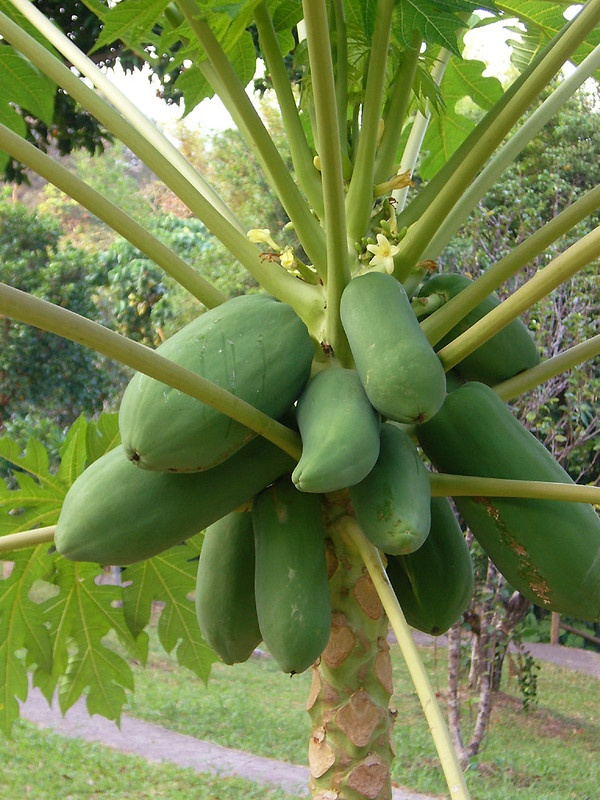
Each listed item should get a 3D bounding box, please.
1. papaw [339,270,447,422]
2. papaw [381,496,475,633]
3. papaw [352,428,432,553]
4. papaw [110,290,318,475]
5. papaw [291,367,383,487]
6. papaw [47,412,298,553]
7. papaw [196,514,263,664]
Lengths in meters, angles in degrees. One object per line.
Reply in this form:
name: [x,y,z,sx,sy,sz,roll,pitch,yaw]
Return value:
papaw: [0.101,-0.065,0.807,0.098,0.206,0.088,-13,-50,4]
papaw: [0.226,0.273,1.100,0.148,0.212,0.079,-8,3,34]
papaw: [0.106,0.119,0.822,0.090,0.155,0.069,11,-52,-12]
papaw: [-0.109,-0.007,0.871,0.279,0.159,0.146,-48,5,-37]
papaw: [0.038,0.038,0.768,0.091,0.054,0.153,-6,33,26]
papaw: [-0.168,0.109,0.873,0.291,0.104,0.127,-31,-21,-5]
papaw: [-0.090,0.285,1.014,0.112,0.208,0.117,1,-6,4]
